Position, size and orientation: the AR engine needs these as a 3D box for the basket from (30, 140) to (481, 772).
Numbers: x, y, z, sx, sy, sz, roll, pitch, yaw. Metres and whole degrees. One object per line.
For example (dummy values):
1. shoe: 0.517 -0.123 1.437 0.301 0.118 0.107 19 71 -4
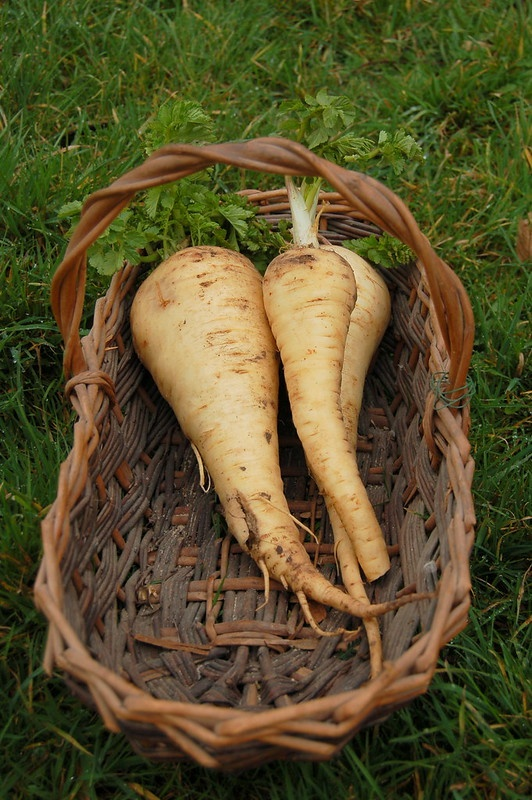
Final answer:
1. basket: -0.042 0.057 1.302 0.713 0.312 1.000 -2 54 0

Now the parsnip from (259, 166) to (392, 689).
1. parsnip: 0.088 0.059 1.460 0.211 0.225 0.862 -7 71 4

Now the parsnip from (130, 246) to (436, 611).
1. parsnip: -0.038 0.041 1.507 0.348 0.309 1.014 -20 42 1
